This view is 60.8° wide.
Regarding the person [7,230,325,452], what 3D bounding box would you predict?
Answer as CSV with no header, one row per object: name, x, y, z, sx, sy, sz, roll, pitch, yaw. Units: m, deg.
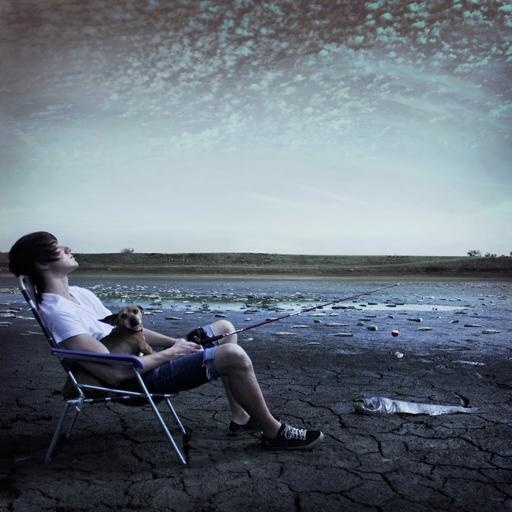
person,-0.627,0.531,2.754,1.850,1.328,0.737,1,-1,4

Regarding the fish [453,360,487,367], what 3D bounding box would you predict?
fish,2.393,1.204,4.929,0.324,0.015,0.335,0,-1,25

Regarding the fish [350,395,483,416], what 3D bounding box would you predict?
fish,1.245,1.177,3.402,0.989,0.107,0.248,2,-1,-3

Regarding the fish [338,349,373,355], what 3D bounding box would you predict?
fish,1.214,1.227,5.560,0.373,0.006,0.415,0,-1,13

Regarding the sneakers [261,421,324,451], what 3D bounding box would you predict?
sneakers,0.236,1.111,2.716,0.448,0.131,0.134,-1,19,-1

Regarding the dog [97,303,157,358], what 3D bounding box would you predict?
dog,-0.831,0.477,2.895,0.350,0.296,0.298,0,2,-33
